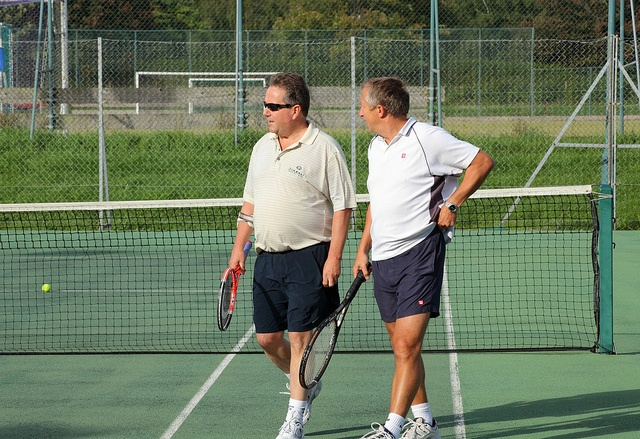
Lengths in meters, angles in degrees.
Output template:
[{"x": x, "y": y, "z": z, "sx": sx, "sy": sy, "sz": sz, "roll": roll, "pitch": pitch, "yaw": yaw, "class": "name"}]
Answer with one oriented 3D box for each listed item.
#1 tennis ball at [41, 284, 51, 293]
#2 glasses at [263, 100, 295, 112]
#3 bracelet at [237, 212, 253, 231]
[{"x": -4.181, "y": 1.047, "z": 13.680, "sx": 0.112, "sy": 0.150, "sz": 0.088, "roll": -11, "pitch": 4, "yaw": 9, "class": "tennis ball"}, {"x": -0.461, "y": -1.198, "z": 9.522, "sx": 0.343, "sy": 0.116, "sz": 0.119, "roll": 1, "pitch": 5, "yaw": 22, "class": "glasses"}, {"x": -0.822, "y": 0.008, "z": 9.864, "sx": 0.122, "sy": 0.094, "sz": 0.173, "roll": 8, "pitch": -31, "yaw": 10, "class": "bracelet"}]
